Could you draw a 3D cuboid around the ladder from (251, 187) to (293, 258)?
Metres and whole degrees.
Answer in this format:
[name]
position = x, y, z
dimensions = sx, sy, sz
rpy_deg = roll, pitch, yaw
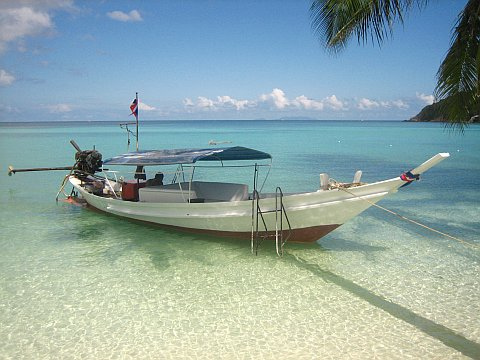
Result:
[ladder]
position = 1.070, 1.299, 10.129
dimensions = 1.435, 2.373, 1.055
rpy_deg = 4, 15, 8

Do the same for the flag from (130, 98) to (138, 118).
[flag]
position = -6.988, -4.696, 19.828
dimensions = 0.355, 1.134, 1.238
rpy_deg = -4, 14, -20
